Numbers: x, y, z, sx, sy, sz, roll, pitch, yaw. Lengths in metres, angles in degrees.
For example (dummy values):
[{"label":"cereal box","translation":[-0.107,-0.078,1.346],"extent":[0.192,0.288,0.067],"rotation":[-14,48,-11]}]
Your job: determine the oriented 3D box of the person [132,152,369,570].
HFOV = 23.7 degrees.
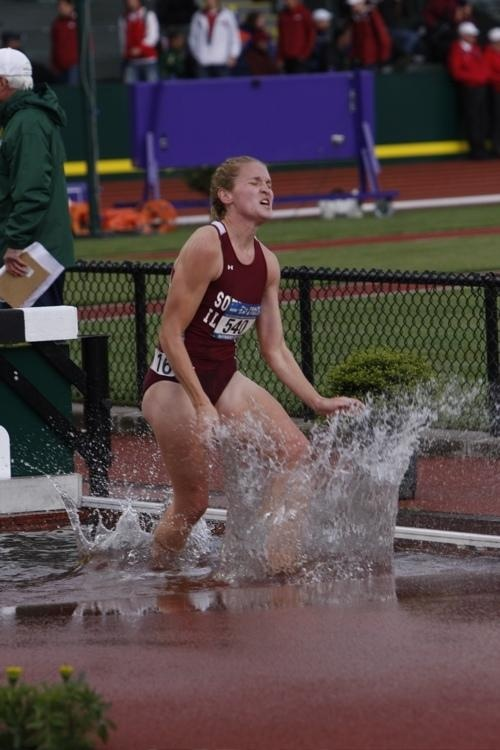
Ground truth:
[{"label":"person","translation":[-0.055,-0.054,4.233],"extent":[0.617,1.442,0.478],"rotation":[-3,6,-22]}]
